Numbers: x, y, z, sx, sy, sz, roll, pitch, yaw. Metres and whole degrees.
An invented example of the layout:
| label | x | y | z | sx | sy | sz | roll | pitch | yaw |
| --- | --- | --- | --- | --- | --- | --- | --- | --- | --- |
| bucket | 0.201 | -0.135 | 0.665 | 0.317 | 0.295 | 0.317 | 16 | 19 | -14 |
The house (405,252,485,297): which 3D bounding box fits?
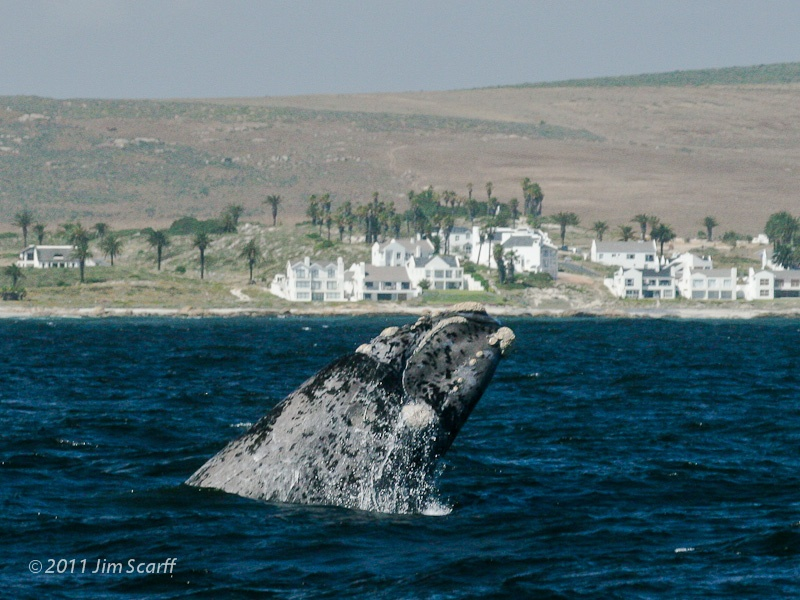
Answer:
| label | x | y | z | sx | sy | sz | roll | pitch | yaw |
| --- | --- | --- | --- | --- | --- | --- | --- | --- | --- |
| house | 12.944 | -7.159 | 697.240 | 21.668 | 11.017 | 5.875 | -2 | 3 | -23 |
